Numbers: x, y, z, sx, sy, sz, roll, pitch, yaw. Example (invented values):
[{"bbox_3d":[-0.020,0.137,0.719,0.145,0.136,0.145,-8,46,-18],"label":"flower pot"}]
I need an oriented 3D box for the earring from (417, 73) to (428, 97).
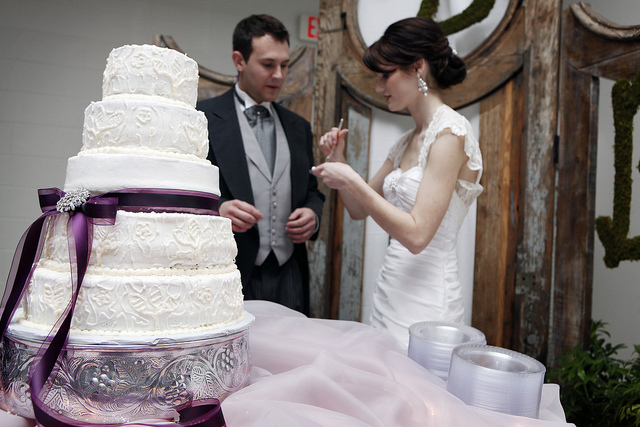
[{"bbox_3d":[0.668,-0.833,4.182,0.058,0.122,0.043,-17,16,29],"label":"earring"}]

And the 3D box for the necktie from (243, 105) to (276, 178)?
[{"bbox_3d":[-0.433,-0.560,4.864,0.215,0.534,0.193,-2,12,-16],"label":"necktie"}]

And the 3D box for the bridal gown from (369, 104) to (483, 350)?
[{"bbox_3d":[0.650,0.043,4.256,0.641,1.598,0.704,-4,18,-25],"label":"bridal gown"}]

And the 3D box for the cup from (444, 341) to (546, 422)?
[{"bbox_3d":[0.881,0.817,3.302,0.377,0.299,0.378,16,-2,1],"label":"cup"}]
